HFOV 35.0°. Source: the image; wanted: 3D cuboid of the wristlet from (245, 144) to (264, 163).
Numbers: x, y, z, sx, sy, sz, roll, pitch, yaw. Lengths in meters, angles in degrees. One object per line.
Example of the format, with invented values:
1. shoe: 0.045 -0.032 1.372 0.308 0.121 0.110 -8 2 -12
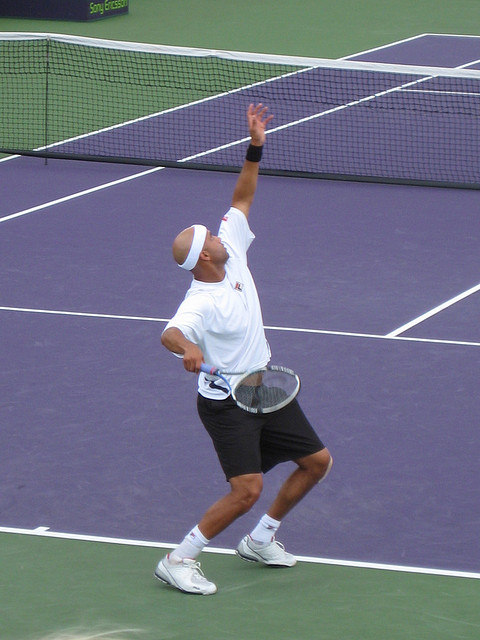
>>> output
1. wristlet: 0.075 -0.971 4.430 0.108 0.100 0.104 7 8 -5

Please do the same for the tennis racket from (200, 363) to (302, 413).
1. tennis racket: 0.078 0.321 3.720 0.438 0.243 0.052 13 59 -14

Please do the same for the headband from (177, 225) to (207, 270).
1. headband: -0.224 -0.358 3.719 0.121 0.220 0.168 2 4 -6
